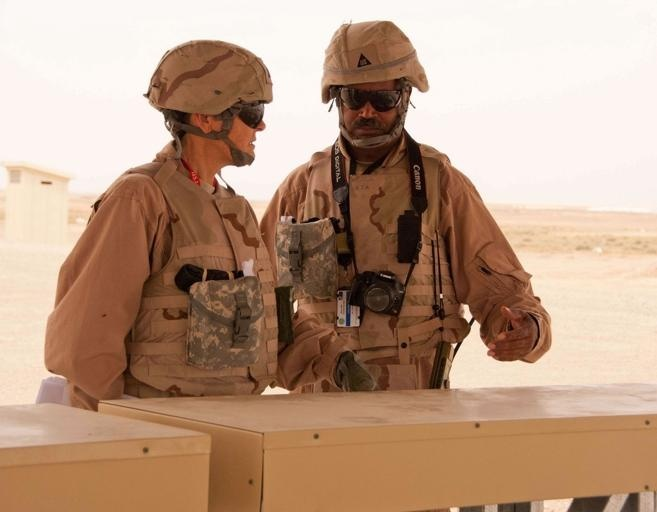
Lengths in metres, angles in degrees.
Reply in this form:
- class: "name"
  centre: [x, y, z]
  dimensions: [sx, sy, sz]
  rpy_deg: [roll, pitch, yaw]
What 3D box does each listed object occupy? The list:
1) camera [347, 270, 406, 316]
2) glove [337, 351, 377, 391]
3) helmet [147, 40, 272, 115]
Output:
- class: "camera"
  centre: [0.209, 0.143, 3.406]
  dimensions: [0.219, 0.179, 0.114]
  rpy_deg: [13, 14, 7]
- class: "glove"
  centre: [0.098, 0.428, 2.980]
  dimensions: [0.117, 0.148, 0.055]
  rpy_deg: [-2, -29, -27]
- class: "helmet"
  centre: [-0.408, -0.617, 3.085]
  dimensions: [0.588, 0.351, 0.415]
  rpy_deg: [-1, 9, -11]
